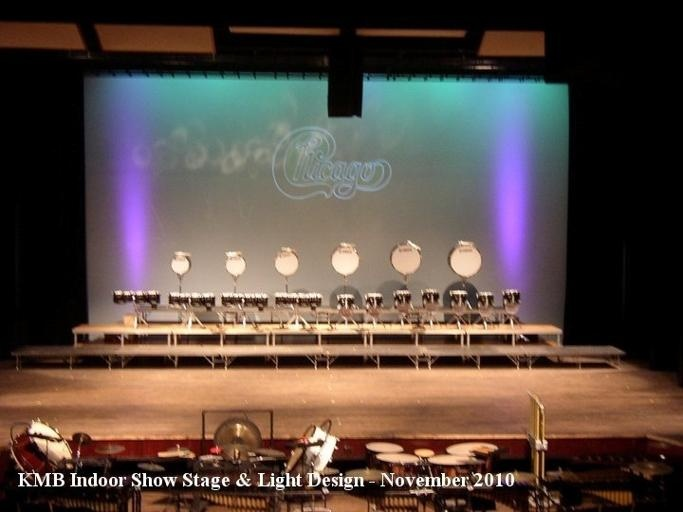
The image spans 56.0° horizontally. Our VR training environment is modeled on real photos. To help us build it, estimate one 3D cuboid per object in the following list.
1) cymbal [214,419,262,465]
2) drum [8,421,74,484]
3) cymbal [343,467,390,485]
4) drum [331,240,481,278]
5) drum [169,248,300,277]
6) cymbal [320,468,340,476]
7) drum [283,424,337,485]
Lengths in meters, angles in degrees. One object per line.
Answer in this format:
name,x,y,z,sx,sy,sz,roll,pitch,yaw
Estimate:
cymbal,-1.073,1.884,6.631,0.487,0.401,0.508,3,-10,-8
drum,-3.035,1.945,6.498,0.712,0.506,0.476,0,-10,10
cymbal,0.270,2.263,6.547,0.452,0.126,0.377,2,-10,0
drum,1.203,0.014,11.704,2.561,0.732,0.608,1,-10,1
drum,-1.899,0.146,11.759,2.238,0.525,0.594,1,-10,4
cymbal,-0.115,2.294,6.815,0.177,0.043,0.183,0,-2,8
drum,-0.320,1.924,6.212,0.281,0.542,0.518,-6,-12,37
